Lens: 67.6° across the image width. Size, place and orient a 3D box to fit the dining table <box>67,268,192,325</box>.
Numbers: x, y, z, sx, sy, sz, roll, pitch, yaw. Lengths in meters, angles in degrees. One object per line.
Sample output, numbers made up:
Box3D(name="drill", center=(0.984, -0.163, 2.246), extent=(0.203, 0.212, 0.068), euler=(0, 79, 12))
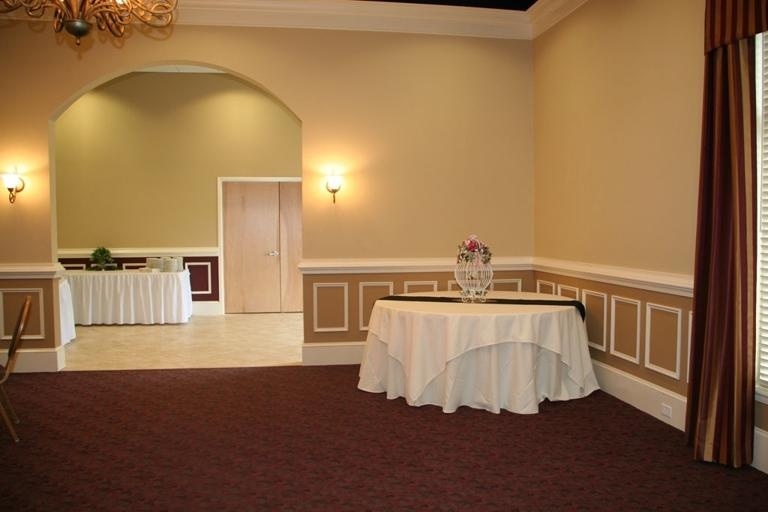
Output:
Box3D(name="dining table", center=(-4.230, 0.686, 9.817), extent=(2.000, 0.796, 0.757), euler=(0, 7, -2))

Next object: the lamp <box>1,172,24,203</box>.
Box3D(name="lamp", center=(-4.483, -0.827, 6.937), extent=(0.232, 0.382, 0.123), euler=(-10, 16, -34))

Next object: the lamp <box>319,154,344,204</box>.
Box3D(name="lamp", center=(-0.628, -0.893, 7.242), extent=(0.342, 0.496, 0.342), euler=(-6, 16, -37))

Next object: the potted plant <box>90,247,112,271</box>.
Box3D(name="potted plant", center=(-4.926, 0.040, 9.950), extent=(0.336, 0.339, 0.527), euler=(-8, 15, -28))
